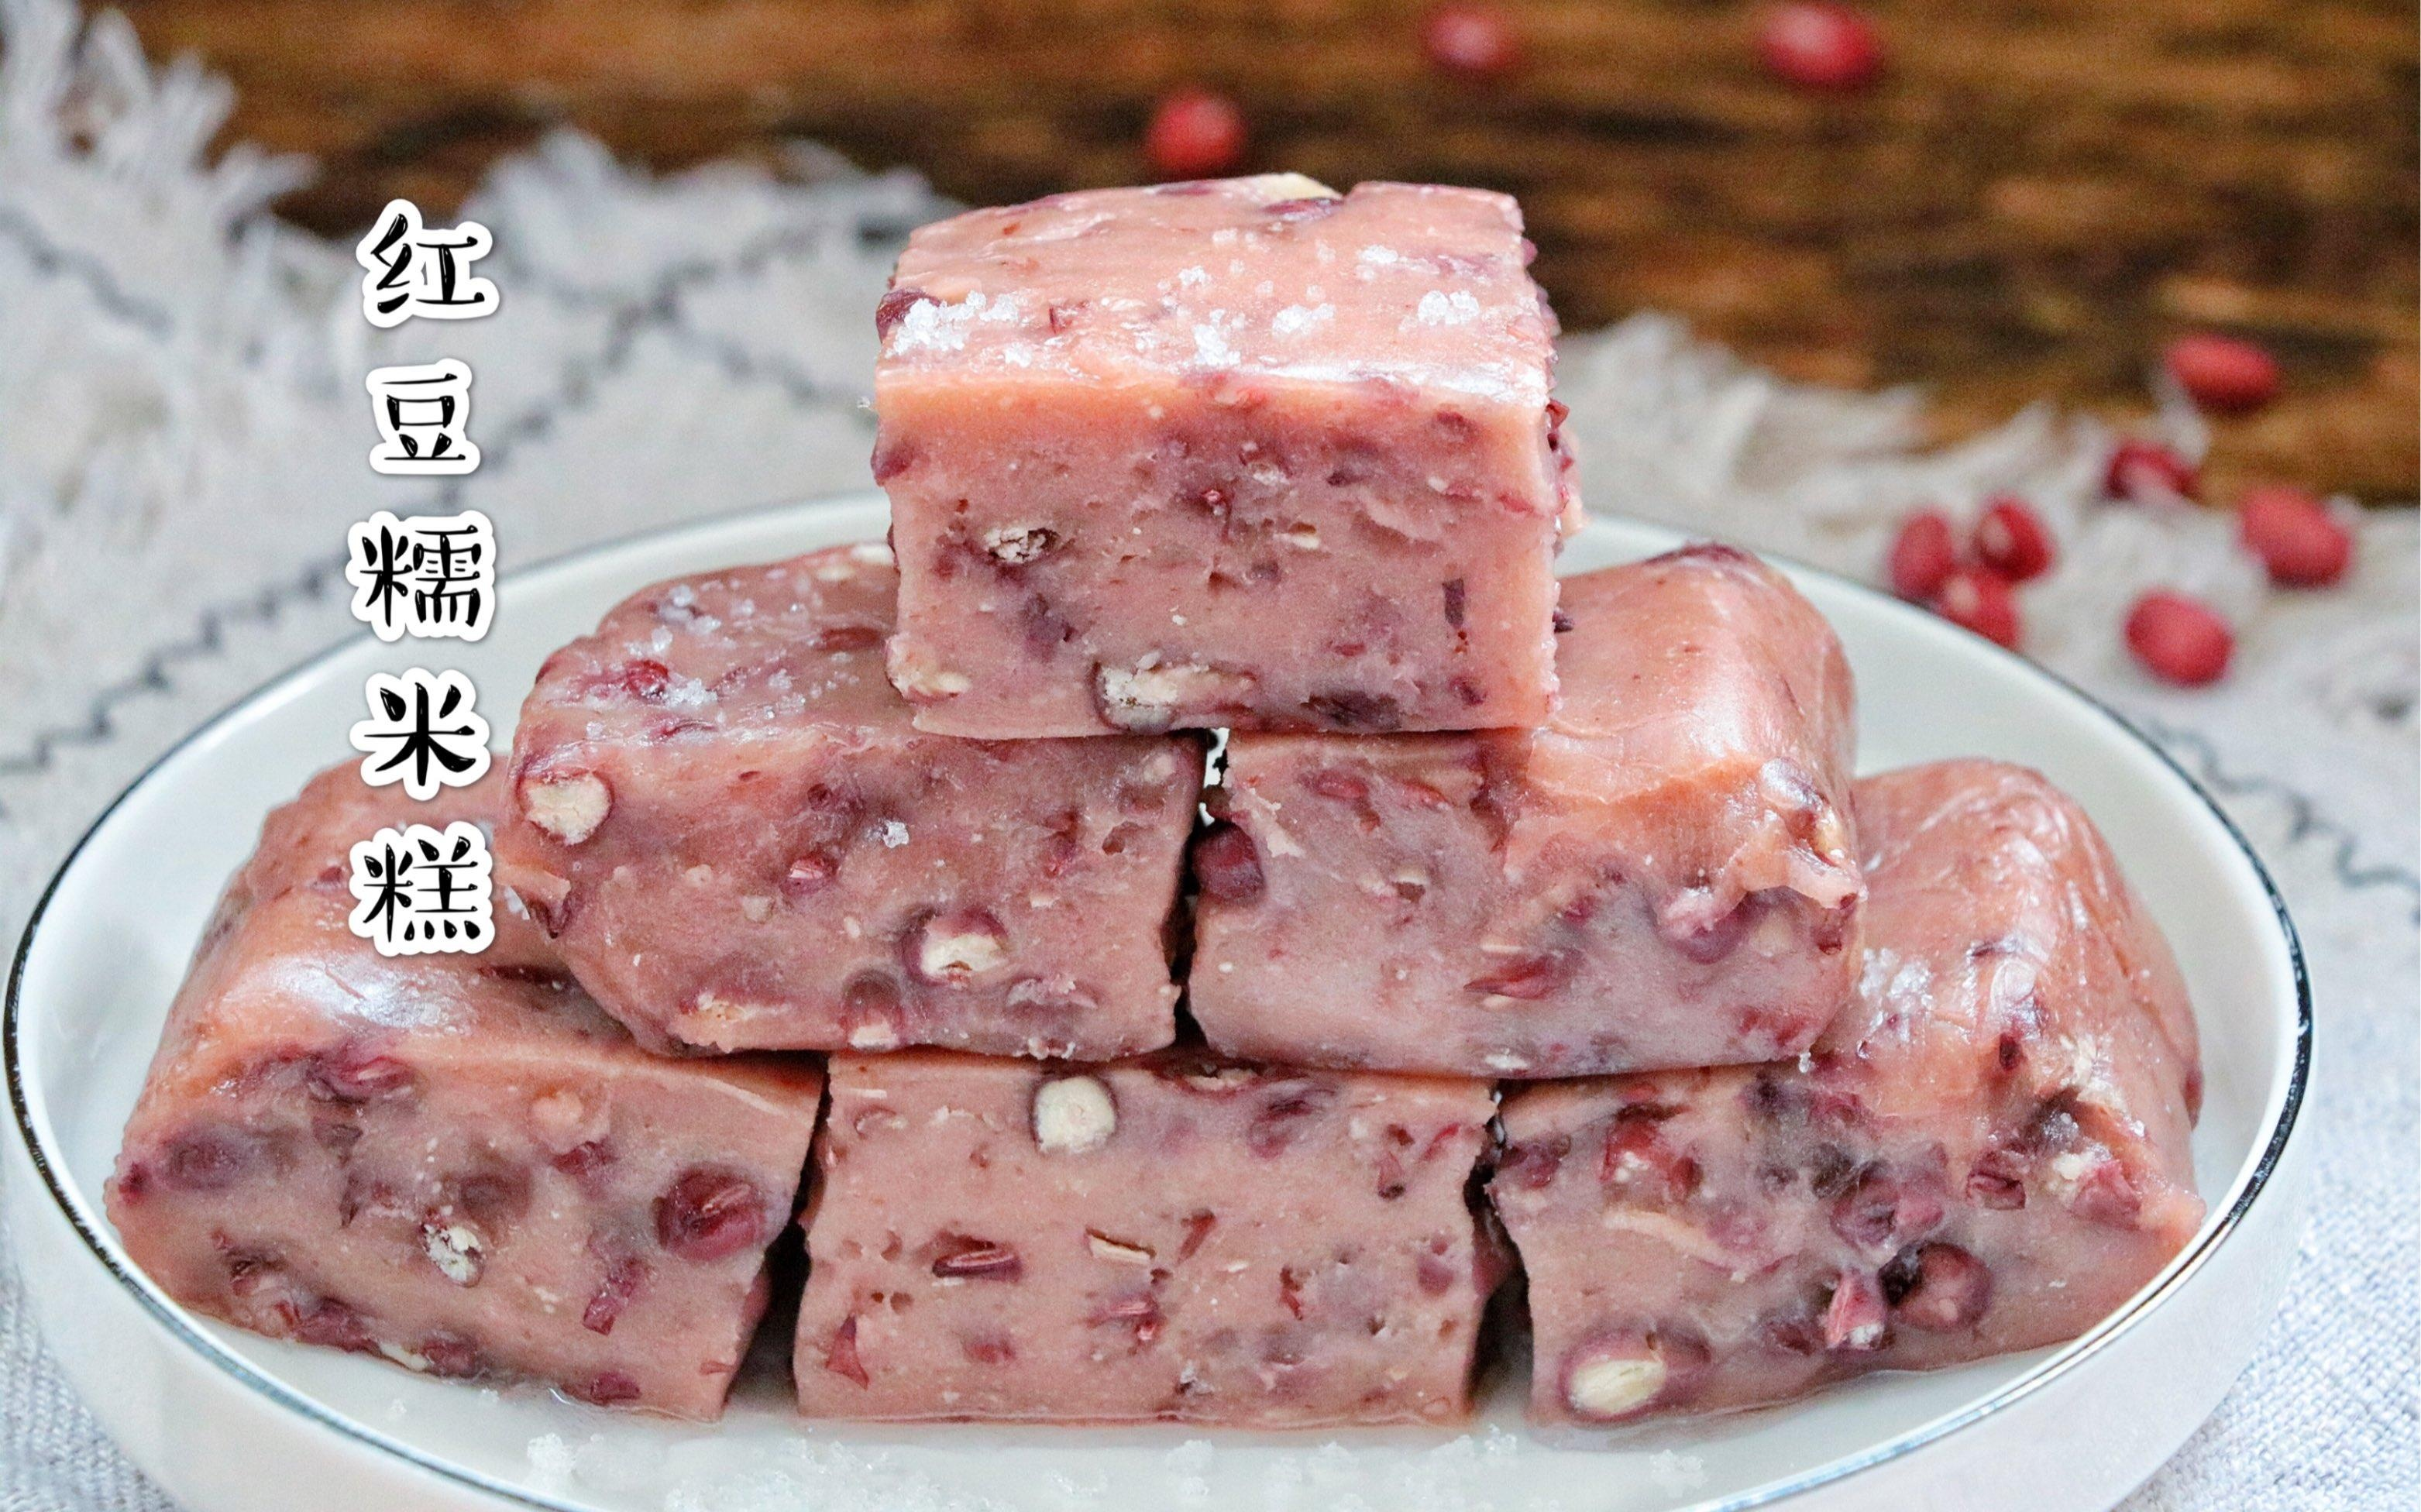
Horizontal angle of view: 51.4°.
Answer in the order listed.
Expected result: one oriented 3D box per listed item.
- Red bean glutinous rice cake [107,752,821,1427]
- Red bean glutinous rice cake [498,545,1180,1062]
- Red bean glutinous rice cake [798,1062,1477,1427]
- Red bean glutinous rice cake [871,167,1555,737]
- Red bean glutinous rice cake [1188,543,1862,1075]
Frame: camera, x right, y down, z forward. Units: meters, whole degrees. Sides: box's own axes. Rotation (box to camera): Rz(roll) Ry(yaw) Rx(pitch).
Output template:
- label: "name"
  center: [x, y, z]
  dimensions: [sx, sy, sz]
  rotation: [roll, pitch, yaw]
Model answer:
- label: "Red bean glutinous rice cake"
  center: [-0.764, 0.427, 2.731]
  dimensions: [0.673, 0.636, 0.324]
  rotation: [17, -27, 5]
- label: "Red bean glutinous rice cake"
  center: [-0.299, 0.183, 2.984]
  dimensions: [0.871, 0.346, 0.833]
  rotation: [-1, -4, 0]
- label: "Red bean glutinous rice cake"
  center: [-0.024, 0.521, 2.893]
  dimensions: [0.843, 0.400, 0.446]
  rotation: [-2, 7, 10]
- label: "Red bean glutinous rice cake"
  center: [0.063, -0.359, 2.717]
  dimensions: [0.739, 0.519, 0.518]
  rotation: [2, 20, 17]
- label: "Red bean glutinous rice cake"
  center: [0.351, -0.027, 2.742]
  dimensions: [0.593, 0.259, 0.553]
  rotation: [-1, 26, 10]
